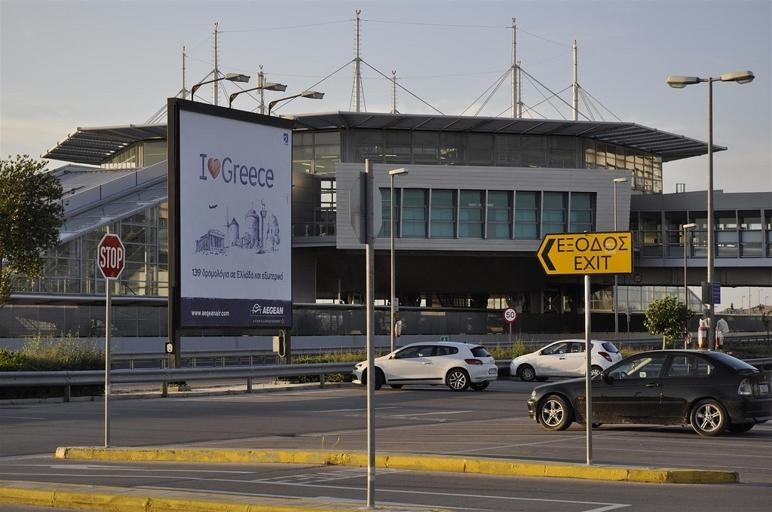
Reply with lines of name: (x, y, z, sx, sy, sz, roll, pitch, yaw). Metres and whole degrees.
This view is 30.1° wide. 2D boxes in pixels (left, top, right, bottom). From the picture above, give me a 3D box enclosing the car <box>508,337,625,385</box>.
car: (7.809, 4.655, 63.689, 4.556, 1.766, 2.072, 0, -3, 19)
